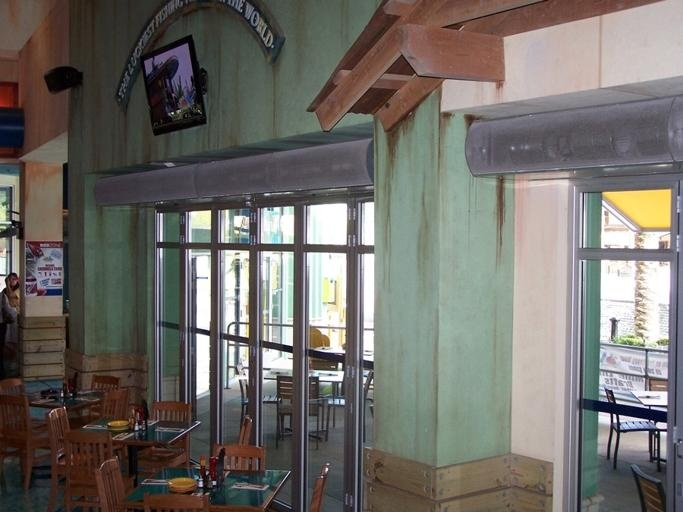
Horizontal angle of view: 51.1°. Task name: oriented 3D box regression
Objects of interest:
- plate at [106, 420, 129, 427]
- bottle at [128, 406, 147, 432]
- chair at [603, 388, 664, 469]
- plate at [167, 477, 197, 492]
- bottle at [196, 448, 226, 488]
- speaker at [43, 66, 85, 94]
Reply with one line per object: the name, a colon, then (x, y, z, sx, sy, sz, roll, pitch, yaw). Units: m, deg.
plate: (-2.350, 1.766, 7.509, 0.269, 0.049, 0.159, 0, -2, 25)
bottle: (-2.115, 1.696, 7.484, 0.184, 0.213, 0.285, 1, -2, -17)
chair: (2.066, 1.273, 5.238, 0.437, 0.723, 0.369, -2, -1, 9)
plate: (-1.355, 1.954, 6.119, 0.238, 0.071, 0.310, 1, -2, -15)
bottle: (-1.082, 1.830, 6.121, 0.254, 0.408, 0.211, 0, -6, 7)
speaker: (-3.653, -2.308, 9.469, 0.439, 0.346, 0.349, -1, -6, 8)
